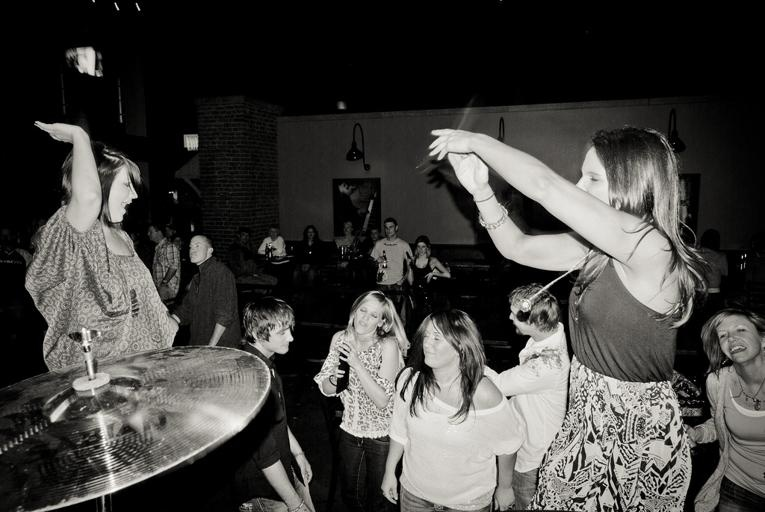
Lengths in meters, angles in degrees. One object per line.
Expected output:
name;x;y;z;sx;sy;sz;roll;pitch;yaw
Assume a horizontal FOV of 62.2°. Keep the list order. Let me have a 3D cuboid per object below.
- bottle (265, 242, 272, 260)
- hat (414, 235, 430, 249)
bottle;-2.210;-0.102;12.175;0.101;0.301;0.438;9;4;-4
hat;0.662;-0.299;10.967;0.203;0.263;0.289;5;-26;11
